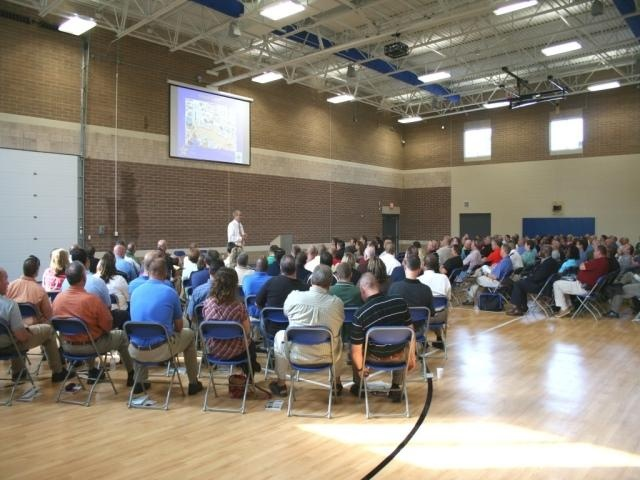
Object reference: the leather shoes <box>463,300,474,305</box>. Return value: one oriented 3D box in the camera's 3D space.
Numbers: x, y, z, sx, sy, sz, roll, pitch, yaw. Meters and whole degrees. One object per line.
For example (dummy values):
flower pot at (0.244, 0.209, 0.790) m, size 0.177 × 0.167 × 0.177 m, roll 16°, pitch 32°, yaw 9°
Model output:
leather shoes at (3.640, 1.522, 12.713) m, size 0.305 × 0.187 × 0.102 m, roll -1°, pitch -3°, yaw 33°

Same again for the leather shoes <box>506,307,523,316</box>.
leather shoes at (4.263, 1.583, 11.549) m, size 0.418 × 0.251 × 0.137 m, roll 2°, pitch 2°, yaw -2°

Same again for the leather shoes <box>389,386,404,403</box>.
leather shoes at (1.002, 2.034, 6.907) m, size 0.158 × 0.191 × 0.099 m, roll 1°, pitch -12°, yaw 16°

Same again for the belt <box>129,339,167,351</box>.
belt at (-2.232, 1.336, 6.738) m, size 0.491 × 0.161 × 0.077 m, roll -1°, pitch 3°, yaw 8°

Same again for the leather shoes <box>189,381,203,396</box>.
leather shoes at (-1.694, 2.008, 7.074) m, size 0.108 × 0.105 × 0.262 m, roll 1°, pitch 2°, yaw 15°

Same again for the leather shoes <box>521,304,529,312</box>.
leather shoes at (4.532, 1.496, 11.458) m, size 0.133 × 0.193 × 0.130 m, roll 1°, pitch -3°, yaw -1°

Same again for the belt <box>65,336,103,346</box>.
belt at (-3.162, 1.314, 6.893) m, size 0.442 × 0.126 × 0.142 m, roll -1°, pitch 2°, yaw 1°

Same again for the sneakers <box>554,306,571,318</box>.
sneakers at (5.342, 1.581, 11.486) m, size 0.526 × 0.184 × 0.188 m, roll -1°, pitch -10°, yaw -42°

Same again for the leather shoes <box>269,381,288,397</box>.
leather shoes at (-0.562, 1.984, 7.047) m, size 0.158 × 0.116 × 0.295 m, roll -1°, pitch 6°, yaw -31°

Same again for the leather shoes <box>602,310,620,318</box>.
leather shoes at (6.220, 1.585, 11.173) m, size 0.389 × 0.207 × 0.124 m, roll 4°, pitch 2°, yaw 24°
